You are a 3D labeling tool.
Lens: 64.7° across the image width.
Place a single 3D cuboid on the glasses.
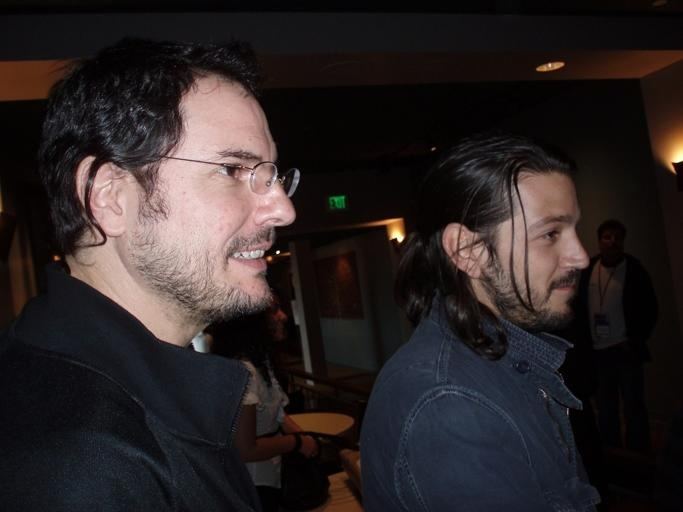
[{"bbox_3d":[-0.280,-0.221,1.607,0.194,0.058,0.184,11,-2,13],"label":"glasses"}]
